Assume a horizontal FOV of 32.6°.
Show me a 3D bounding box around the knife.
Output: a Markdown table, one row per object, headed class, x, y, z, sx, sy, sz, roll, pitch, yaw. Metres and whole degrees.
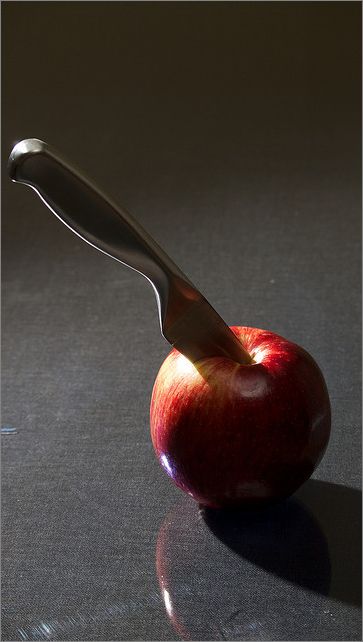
| class | x | y | z | sx | sy | sz | roll | pitch | yaw |
| --- | --- | --- | --- | --- | --- | --- | --- | --- | --- |
| knife | 0.014 | 0.006 | 0.396 | 0.016 | 0.046 | 0.316 | 39 | -3 | 47 |
